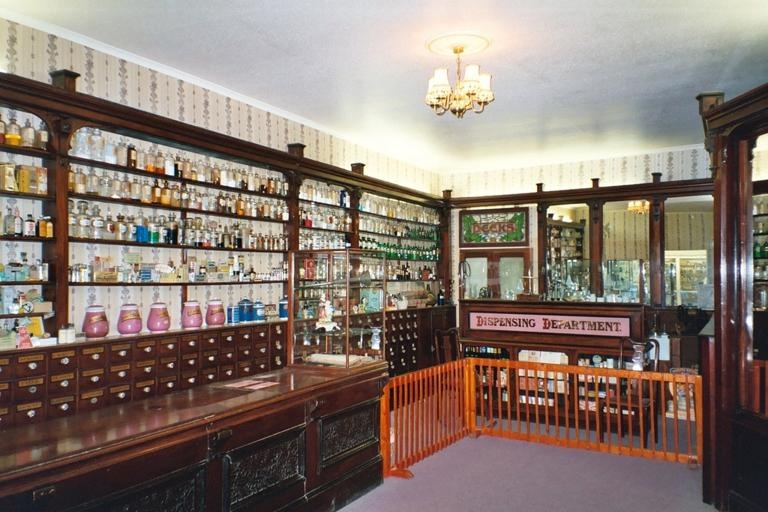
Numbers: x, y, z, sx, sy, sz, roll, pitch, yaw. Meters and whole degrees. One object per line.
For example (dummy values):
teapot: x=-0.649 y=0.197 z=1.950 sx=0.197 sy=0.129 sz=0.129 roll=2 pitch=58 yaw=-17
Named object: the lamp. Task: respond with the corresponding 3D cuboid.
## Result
lamp: x=0.948 y=-2.063 z=7.003 sx=0.915 sy=0.964 sz=0.962 roll=2 pitch=0 yaw=16
